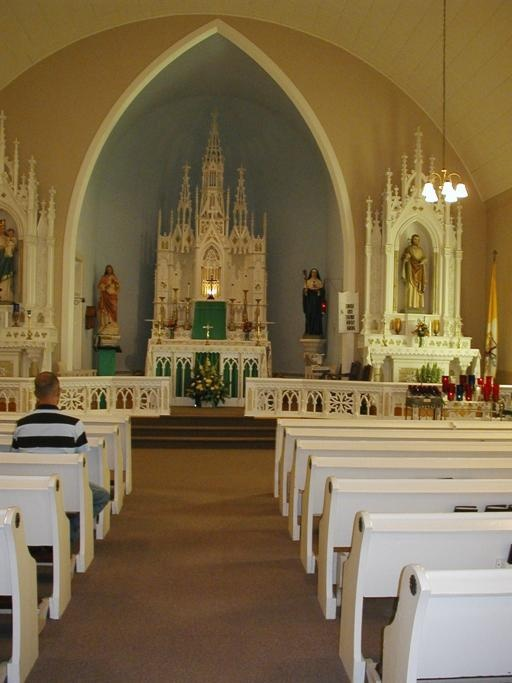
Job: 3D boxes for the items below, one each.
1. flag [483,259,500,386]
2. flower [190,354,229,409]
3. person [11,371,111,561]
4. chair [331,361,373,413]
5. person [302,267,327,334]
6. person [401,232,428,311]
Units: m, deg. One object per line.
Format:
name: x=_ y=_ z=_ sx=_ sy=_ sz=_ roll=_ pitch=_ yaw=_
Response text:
flag: x=4.149 y=-0.455 z=12.413 sx=0.252 sy=1.514 sz=0.836 roll=2 pitch=1 yaw=18
flower: x=-0.730 y=0.611 z=10.680 sx=0.555 sy=0.770 sz=0.642 roll=1 pitch=1 yaw=-4
person: x=-1.220 y=0.784 z=4.425 sx=0.611 sy=1.166 sz=0.503 roll=1 pitch=1 yaw=-21
chair: x=1.641 y=0.698 z=11.651 sx=0.608 sy=1.054 sz=0.667 roll=3 pitch=-2 yaw=-26
person: x=1.162 y=-0.754 z=14.239 sx=0.438 sy=1.353 sz=0.282 roll=1 pitch=1 yaw=3
person: x=2.733 y=-1.180 z=12.309 sx=0.419 sy=1.325 sz=0.351 roll=2 pitch=1 yaw=10
